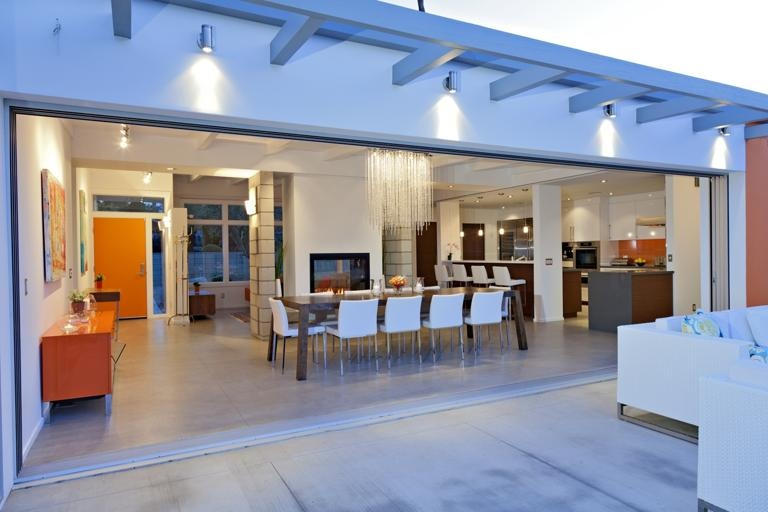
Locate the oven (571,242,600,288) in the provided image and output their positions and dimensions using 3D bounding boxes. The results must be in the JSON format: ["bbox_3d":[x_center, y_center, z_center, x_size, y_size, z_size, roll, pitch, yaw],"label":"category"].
[{"bbox_3d":[5.144,0.210,13.995,0.783,1.210,0.670,-1,3,-7],"label":"oven"}]

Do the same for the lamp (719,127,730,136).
[{"bbox_3d":[4.900,-1.769,7.796,0.176,0.123,0.092,-8,11,-38],"label":"lamp"}]

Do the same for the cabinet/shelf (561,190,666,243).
[{"bbox_3d":[5.592,-0.902,13.255,0.499,1.344,2.634,-6,10,-29],"label":"cabinet/shelf"}]

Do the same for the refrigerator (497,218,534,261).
[{"bbox_3d":[3.937,-0.422,15.707,0.451,1.223,1.293,-2,0,-44],"label":"refrigerator"}]

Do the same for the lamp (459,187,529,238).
[{"bbox_3d":[2.974,-1.035,14.483,1.932,1.400,3.720,1,9,10],"label":"lamp"}]

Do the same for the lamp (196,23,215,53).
[{"bbox_3d":[-1.659,-2.009,5.040,0.157,0.245,0.088,-4,10,-18],"label":"lamp"}]

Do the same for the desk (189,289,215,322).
[{"bbox_3d":[-4.090,1.141,12.180,0.514,0.560,0.869,-1,1,-21],"label":"desk"}]

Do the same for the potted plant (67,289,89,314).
[{"bbox_3d":[-3.719,0.568,6.607,0.254,0.306,0.256,1,6,-26],"label":"potted plant"}]

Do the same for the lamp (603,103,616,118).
[{"bbox_3d":[2.890,-1.833,6.888,0.236,0.174,0.093,-6,10,-28],"label":"lamp"}]
